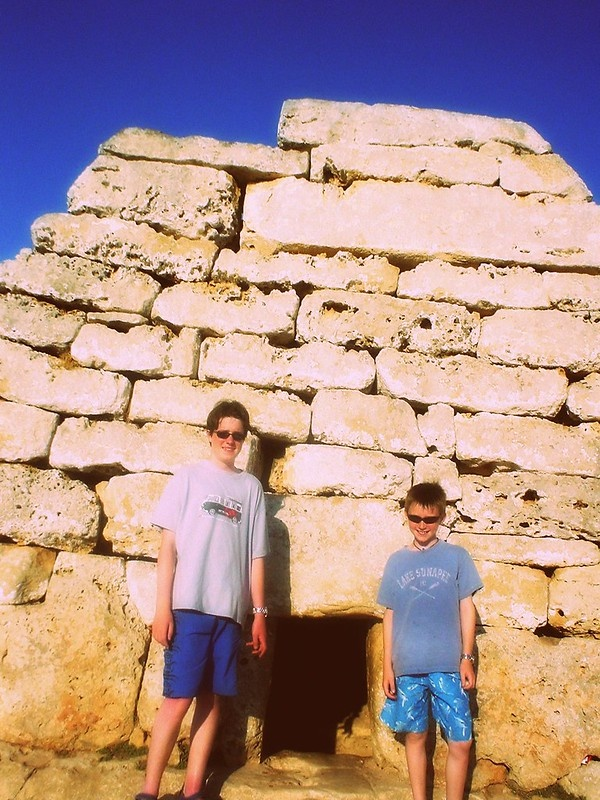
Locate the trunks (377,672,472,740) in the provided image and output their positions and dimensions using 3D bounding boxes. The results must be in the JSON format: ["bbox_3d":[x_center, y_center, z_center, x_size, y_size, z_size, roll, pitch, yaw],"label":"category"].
[{"bbox_3d":[0.596,1.417,3.988,0.399,0.421,0.184,-4,-60,11],"label":"trunks"}]

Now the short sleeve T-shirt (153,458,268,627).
[{"bbox_3d":[-0.389,0.615,4.101,0.539,0.270,0.815,8,-59,3],"label":"short sleeve T-shirt"}]

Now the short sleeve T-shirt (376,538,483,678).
[{"bbox_3d":[0.612,1.011,4.103,0.487,0.700,0.237,-8,-31,17],"label":"short sleeve T-shirt"}]

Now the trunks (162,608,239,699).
[{"bbox_3d":[-0.453,1.130,3.840,0.288,0.317,0.168,19,-26,-35],"label":"trunks"}]
